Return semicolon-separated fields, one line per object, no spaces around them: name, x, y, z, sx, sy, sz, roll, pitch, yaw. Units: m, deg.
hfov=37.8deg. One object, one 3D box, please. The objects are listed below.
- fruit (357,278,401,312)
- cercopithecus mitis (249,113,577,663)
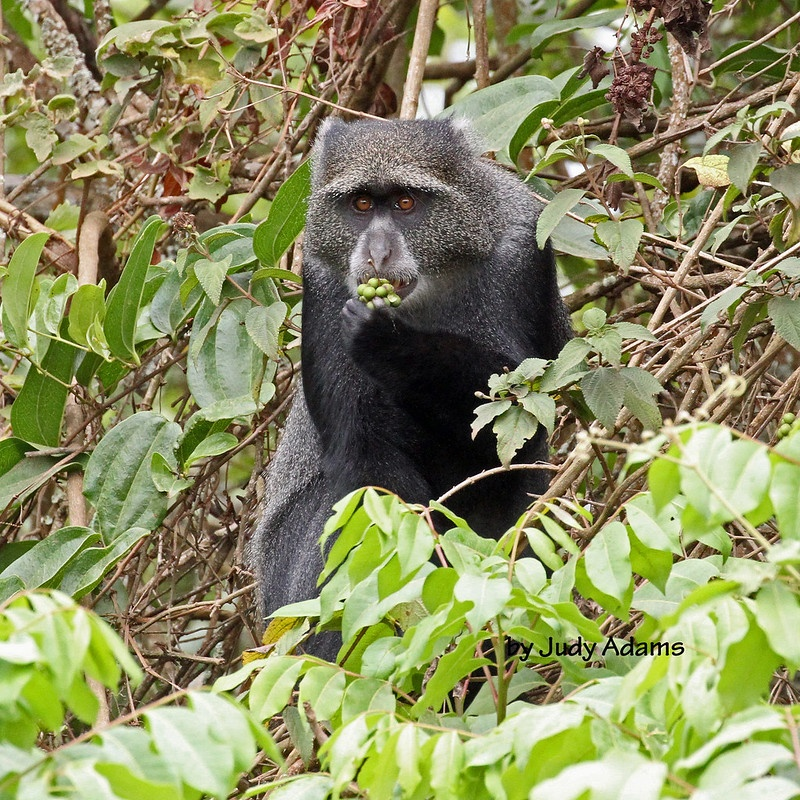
fruit;-0.074;-0.355;3.844;0.113;0.141;0.070;17;79;6
cercopithecus mitis;0.038;-0.089;4.726;1.645;1.941;1.058;2;11;3
